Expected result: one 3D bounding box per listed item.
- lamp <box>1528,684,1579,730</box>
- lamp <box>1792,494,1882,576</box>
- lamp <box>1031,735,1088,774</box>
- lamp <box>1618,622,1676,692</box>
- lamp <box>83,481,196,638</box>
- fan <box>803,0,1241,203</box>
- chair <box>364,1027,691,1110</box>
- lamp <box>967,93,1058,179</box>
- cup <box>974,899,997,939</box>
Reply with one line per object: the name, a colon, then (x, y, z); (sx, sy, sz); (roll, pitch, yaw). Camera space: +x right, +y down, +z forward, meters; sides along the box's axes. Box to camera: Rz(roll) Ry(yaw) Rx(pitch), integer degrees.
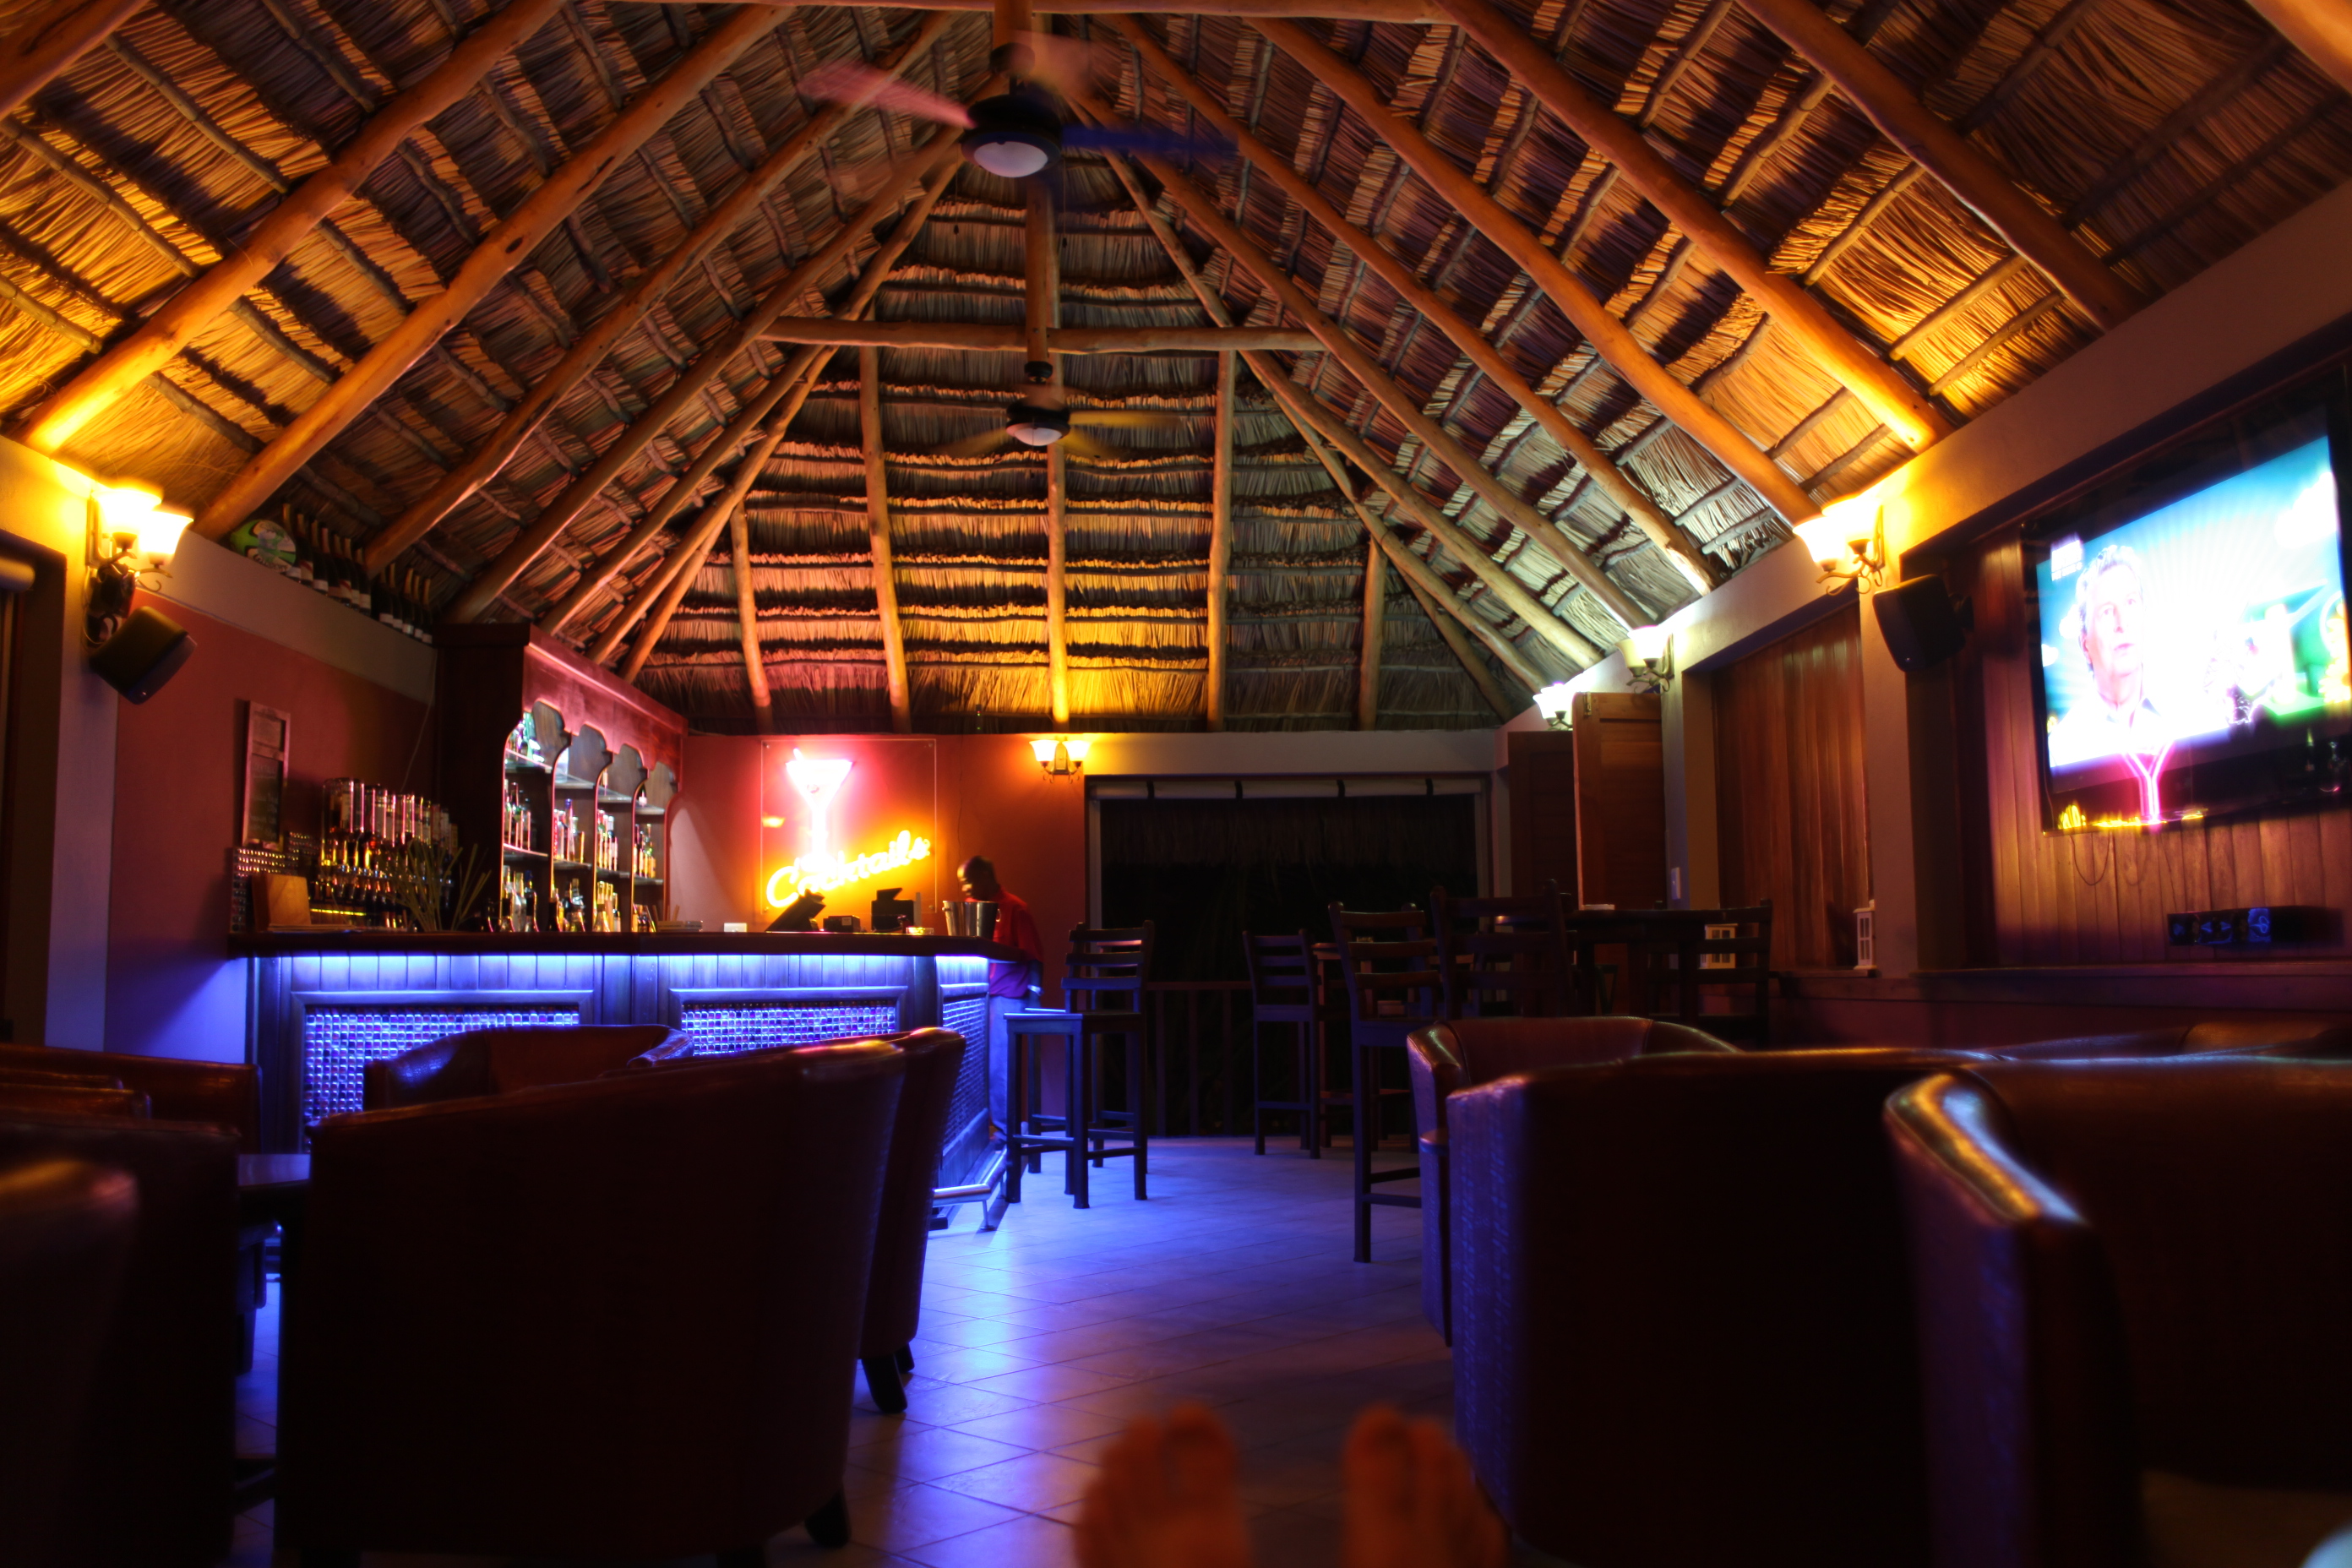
lamp: (2.443, -0.507, 10.925); (0.241, 0.211, 0.260); (-2, 4, 1)
lamp: (2.860, -1.066, 7.316); (0.319, 0.273, 0.304); (-6, -9, 27)
lamp: (-0.790, -0.210, 12.039); (0.391, 0.295, 0.118); (0, -5, -4)
lamp: (2.743, -0.732, 9.630); (0.283, 0.372, 0.297); (8, -9, -25)
lamp: (-4.109, -0.858, 6.683); (0.289, 0.583, 0.306); (20, 12, 37)
fan: (-0.811, -3.222, 8.257); (1.545, 0.697, 1.548); (0, -12, 3)
chair: (-1.460, 0.656, 3.882); (0.473, 0.186, 0.360); (-4, -2, -12)
lamp: (-0.655, -2.677, 6.848); (0.400, 0.317, 0.347); (-1, -5, 8)
cup: (-0.945, 0.678, 8.730); (0.102, 0.178, 0.419); (0, -4, -5)
